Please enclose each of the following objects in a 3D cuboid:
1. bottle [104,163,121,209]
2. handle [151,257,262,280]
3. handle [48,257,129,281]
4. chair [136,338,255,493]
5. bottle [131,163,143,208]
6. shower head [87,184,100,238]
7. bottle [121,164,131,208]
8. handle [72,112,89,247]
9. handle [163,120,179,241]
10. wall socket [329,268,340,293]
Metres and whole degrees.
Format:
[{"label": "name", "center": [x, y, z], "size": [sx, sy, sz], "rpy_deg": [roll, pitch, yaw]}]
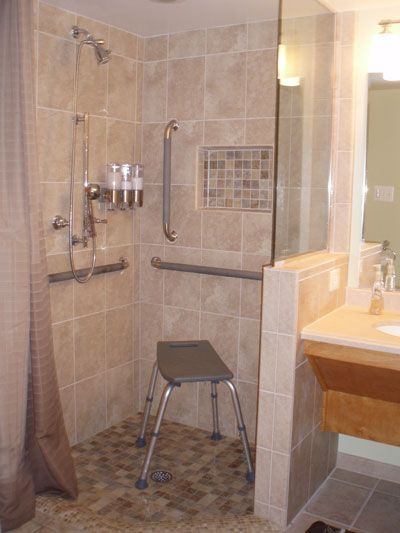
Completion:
[{"label": "bottle", "center": [-0.447, -0.415, 2.325], "size": [0.079, 0.210, 0.146], "rpy_deg": [0, 1, -17]}, {"label": "handle", "center": [0.056, 0.003, 2.455], "size": [0.485, 0.081, 0.076], "rpy_deg": [6, 2, 24]}, {"label": "handle", "center": [-0.520, -0.010, 2.365], "size": [0.089, 0.102, 0.647], "rpy_deg": [13, 10, 33]}, {"label": "chair", "center": [-0.053, 0.669, 2.111], "size": [0.444, 0.517, 0.574], "rpy_deg": [1, 4, -9]}, {"label": "bottle", "center": [-0.329, -0.420, 2.357], "size": [0.057, 0.217, 0.070], "rpy_deg": [0, 1, -15]}, {"label": "shower head", "center": [-0.522, -0.279, 2.225], "size": [0.057, 0.271, 0.148], "rpy_deg": [0, 1, -13]}, {"label": "bottle", "center": [-0.380, -0.414, 2.331], "size": [0.048, 0.213, 0.089], "rpy_deg": [0, 1, -9]}, {"label": "handle", "center": [-0.572, -0.437, 2.198], "size": [0.061, 0.696, 0.087], "rpy_deg": [-8, -11, 26]}, {"label": "handle", "center": [-0.161, -0.466, 2.483], "size": [0.081, 0.640, 0.183], "rpy_deg": [1, 1, -3]}, {"label": "wall socket", "center": [0.554, 0.052, 1.876], "size": [0.009, 0.081, 0.085], "rpy_deg": [6, 10, 33]}]
